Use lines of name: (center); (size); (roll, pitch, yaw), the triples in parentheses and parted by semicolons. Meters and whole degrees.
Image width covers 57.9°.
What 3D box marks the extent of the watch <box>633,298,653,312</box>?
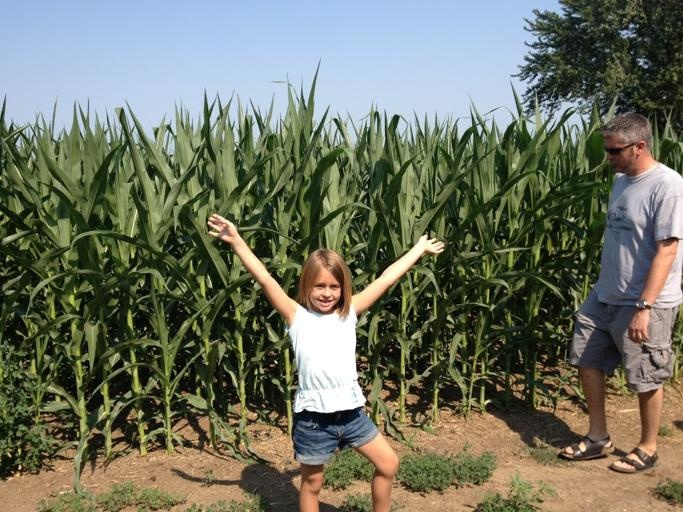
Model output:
watch: (2.037, 0.329, 4.160); (0.086, 0.079, 0.055); (-2, 6, 30)

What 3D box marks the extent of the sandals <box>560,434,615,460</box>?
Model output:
sandals: (1.795, 1.381, 4.554); (0.378, 0.184, 0.172); (-1, -5, -10)
